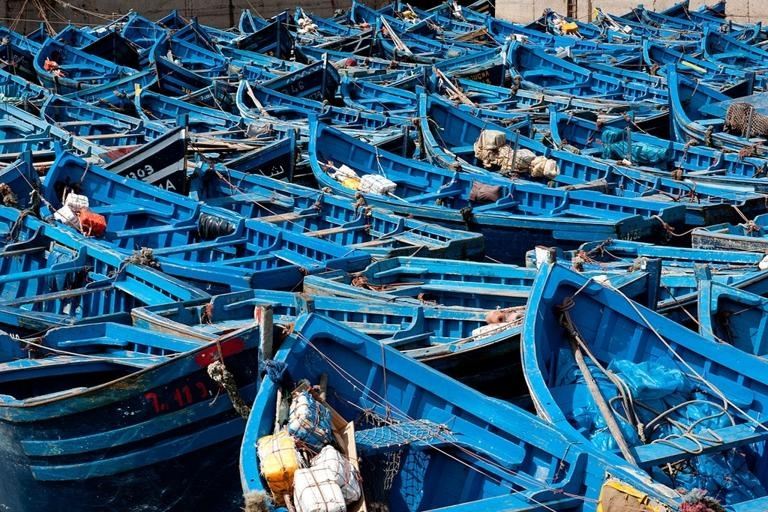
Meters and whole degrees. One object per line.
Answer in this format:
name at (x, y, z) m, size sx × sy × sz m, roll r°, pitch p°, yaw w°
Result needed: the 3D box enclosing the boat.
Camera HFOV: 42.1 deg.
boat at (-0.914, 0.756, 17.191) m, size 11.629 × 5.220 × 10.331 m, roll 1°, pitch 14°, yaw -7°
